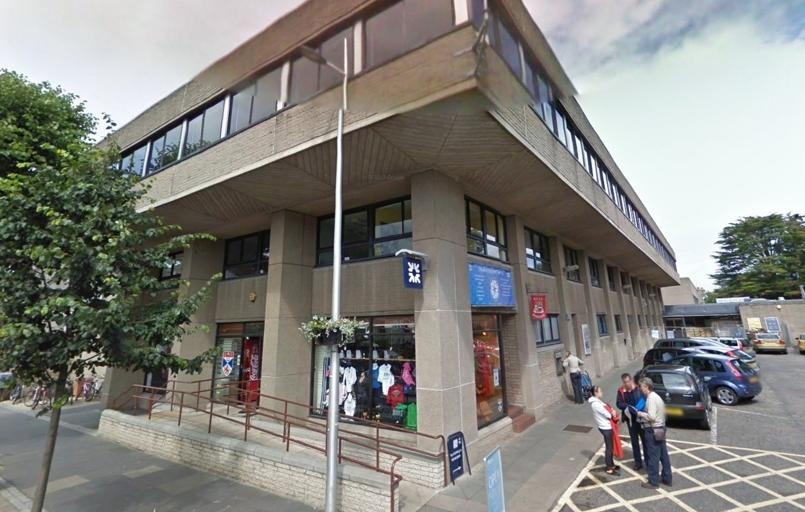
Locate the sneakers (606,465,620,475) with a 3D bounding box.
[{"bbox_3d":[6.578,6.722,12.861,0.300,0.106,0.300,-17,-4,27],"label":"sneakers"}]

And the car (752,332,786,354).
[{"bbox_3d":[30.344,7.239,34.104,1.317,0.928,3.113,-5,-5,29],"label":"car"}]
